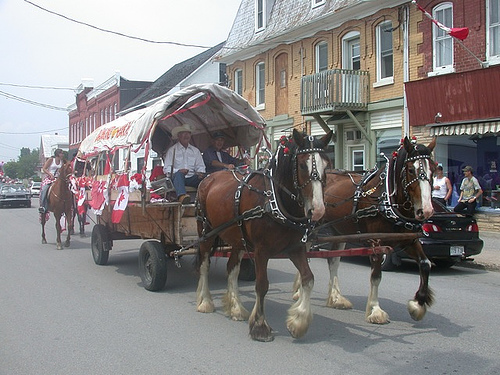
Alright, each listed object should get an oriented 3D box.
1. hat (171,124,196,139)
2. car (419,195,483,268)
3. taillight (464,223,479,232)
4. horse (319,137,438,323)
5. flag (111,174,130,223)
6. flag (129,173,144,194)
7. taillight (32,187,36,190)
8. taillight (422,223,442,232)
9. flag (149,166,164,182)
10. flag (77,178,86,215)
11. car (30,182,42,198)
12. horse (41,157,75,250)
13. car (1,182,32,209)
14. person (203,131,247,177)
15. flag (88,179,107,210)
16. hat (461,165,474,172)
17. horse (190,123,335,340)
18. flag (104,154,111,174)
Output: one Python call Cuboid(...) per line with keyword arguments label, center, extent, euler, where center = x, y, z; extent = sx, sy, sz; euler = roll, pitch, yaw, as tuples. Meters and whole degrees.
Cuboid(label="hat", center=(-1.416, -1.197, 12.016), extent=(0.492, 0.320, 0.836), euler=(0, 6, -5))
Cuboid(label="car", center=(4.341, 1.060, 13.534), extent=(1.462, 1.379, 3.032), euler=(-1, -4, -6))
Cuboid(label="taillight", center=(4.834, 0.898, 12.353), extent=(0.173, 0.154, 0.291), euler=(3, -10, -31))
Cuboid(label="horse", center=(2.060, 0.647, 9.260), extent=(1.535, 2.917, 2.088), euler=(0, 6, 0))
Cuboid(label="flag", center=(-2.543, 0.234, 11.151), extent=(0.199, 1.001, 0.690), euler=(-3, 6, -27))
Cuboid(label="flag", center=(-2.120, -0.068, 10.705), extent=(0.103, 0.349, 0.318), euler=(12, -11, -41))
Cuboid(label="taillight", center=(-21.556, 0.142, 56.423), extent=(0.294, 0.279, 0.626), euler=(-2, 6, -16))
Cuboid(label="taillight", center=(3.758, 0.842, 11.746), extent=(0.523, 0.171, 0.295), euler=(3, -3, -5))
Cuboid(label="flag", center=(-1.937, -0.279, 11.590), extent=(0.310, 0.297, 0.250), euler=(7, 4, 44))
Cuboid(label="flag", center=(-4.337, 0.237, 14.537), extent=(0.221, 0.958, 1.131), euler=(-2, 6, -17))
Cuboid(label="car", center=(-19.508, 0.239, 51.306), extent=(1.380, 1.202, 3.100), euler=(0, 5, -24))
Cuboid(label="horse", center=(-5.420, 0.421, 16.348), extent=(0.752, 2.509, 1.562), euler=(-2, 6, -19))
Cuboid(label="car", center=(-14.927, 0.588, 35.956), extent=(1.660, 1.477, 2.034), euler=(-3, 6, -25))
Cuboid(label="person", center=(-0.607, -0.769, 11.673), extent=(0.693, 0.999, 1.000), euler=(10, -26, -31))
Cuboid(label="flag", center=(-3.420, 0.162, 12.717), extent=(0.093, 0.909, 0.624), euler=(14, -6, -34))
Cuboid(label="hat", center=(6.927, -0.597, 17.982), extent=(0.363, 0.164, 0.259), euler=(0, -2, -19))
Cuboid(label="horse", center=(0.070, 0.802, 9.205), extent=(1.166, 3.086, 4.167), euler=(0, -2, -28))
Cuboid(label="flag", center=(-3.385, -0.544, 13.374), extent=(0.096, 0.531, 1.390), euler=(-2, 6, -17))
